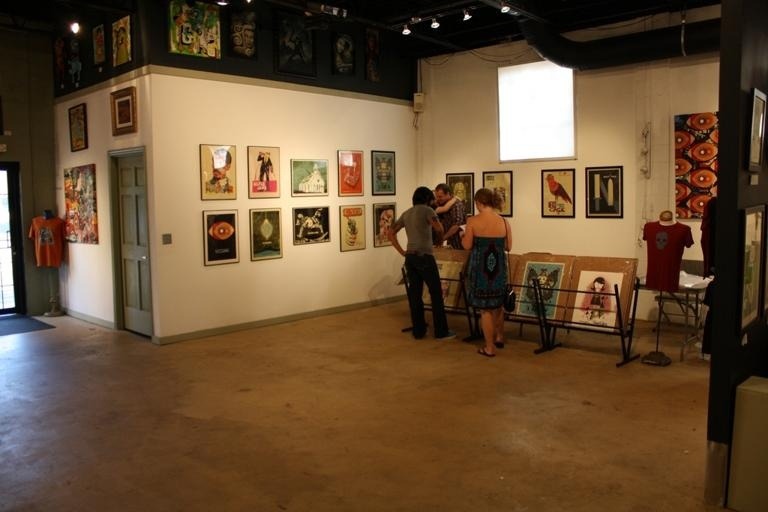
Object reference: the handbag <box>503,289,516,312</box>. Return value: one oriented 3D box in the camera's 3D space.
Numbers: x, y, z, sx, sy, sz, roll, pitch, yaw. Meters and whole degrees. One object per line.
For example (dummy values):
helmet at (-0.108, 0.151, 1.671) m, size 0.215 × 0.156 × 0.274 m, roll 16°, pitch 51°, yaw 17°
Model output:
handbag at (1.776, 0.621, 7.657) m, size 0.164 × 0.391 × 0.338 m, roll 1°, pitch 6°, yaw 9°

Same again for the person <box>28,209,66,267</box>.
person at (-6.644, -0.318, 10.657) m, size 0.665 × 1.152 × 0.393 m, roll -6°, pitch 12°, yaw -23°

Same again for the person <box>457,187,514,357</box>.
person at (1.456, 0.248, 7.664) m, size 0.654 × 2.340 × 0.455 m, roll -1°, pitch 11°, yaw 2°

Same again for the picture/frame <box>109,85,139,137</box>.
picture/frame at (-4.255, -2.392, 8.860) m, size 0.849 × 0.917 × 0.065 m, roll 4°, pitch 6°, yaw 43°

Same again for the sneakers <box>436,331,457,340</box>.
sneakers at (0.991, 1.261, 8.592) m, size 0.335 × 0.137 × 0.124 m, roll -6°, pitch 7°, yaw -27°

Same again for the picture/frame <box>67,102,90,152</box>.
picture/frame at (-5.673, -2.422, 10.037) m, size 0.900 × 1.338 × 0.132 m, roll 4°, pitch 6°, yaw 42°
